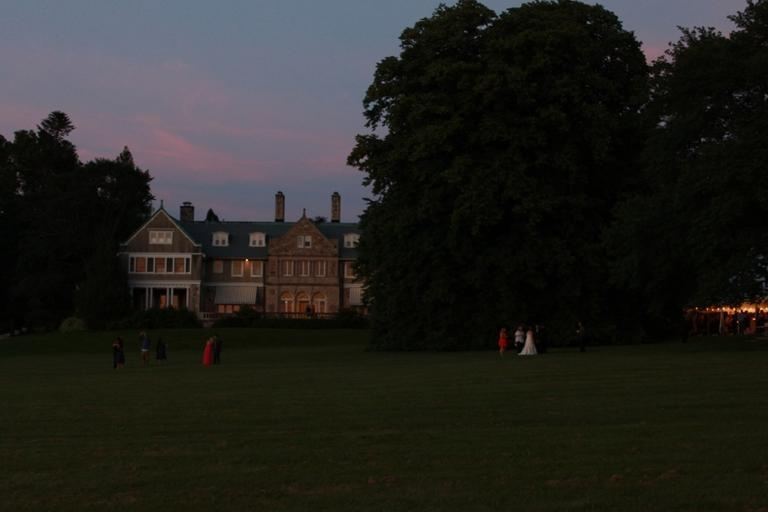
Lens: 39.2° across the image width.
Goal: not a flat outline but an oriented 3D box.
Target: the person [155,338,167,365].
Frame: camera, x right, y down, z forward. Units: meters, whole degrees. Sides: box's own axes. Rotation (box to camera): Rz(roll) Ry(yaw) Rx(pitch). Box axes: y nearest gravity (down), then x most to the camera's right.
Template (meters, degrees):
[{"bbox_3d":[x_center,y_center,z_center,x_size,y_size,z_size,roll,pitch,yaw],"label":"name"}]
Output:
[{"bbox_3d":[-11.798,5.013,57.411,0.407,1.301,2.167,2,-4,-13],"label":"person"}]

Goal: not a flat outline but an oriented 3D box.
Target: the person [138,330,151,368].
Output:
[{"bbox_3d":[-12.400,4.881,56.275,0.370,1.585,1.386,1,-4,-8],"label":"person"}]

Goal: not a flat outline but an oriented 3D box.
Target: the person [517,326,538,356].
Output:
[{"bbox_3d":[7.750,4.574,57.918,0.997,1.480,2.290,0,-4,7],"label":"person"}]
